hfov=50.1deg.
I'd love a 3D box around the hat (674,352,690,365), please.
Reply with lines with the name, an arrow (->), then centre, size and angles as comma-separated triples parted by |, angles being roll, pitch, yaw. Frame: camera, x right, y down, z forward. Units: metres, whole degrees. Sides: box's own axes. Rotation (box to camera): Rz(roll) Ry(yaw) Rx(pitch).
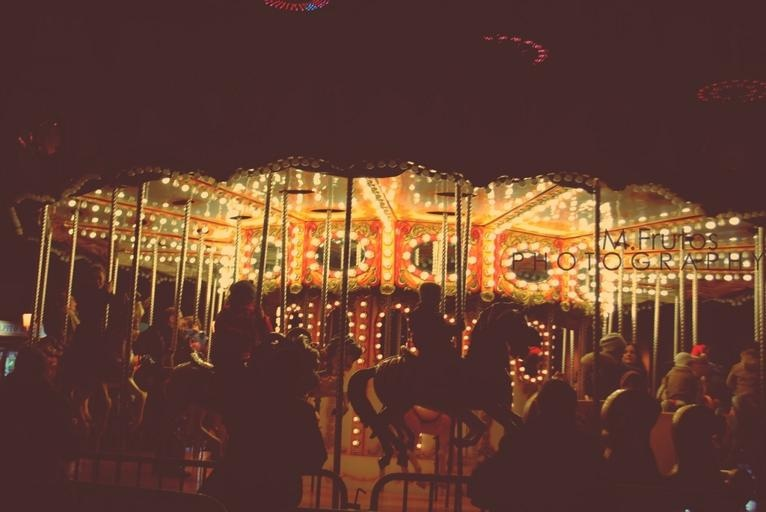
hat -> 3.654, 1.256, 10.071 | 0.154, 0.150, 0.145 | -2, -3, -15
